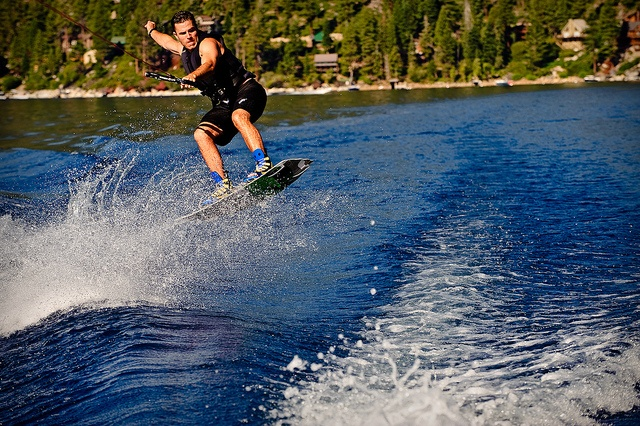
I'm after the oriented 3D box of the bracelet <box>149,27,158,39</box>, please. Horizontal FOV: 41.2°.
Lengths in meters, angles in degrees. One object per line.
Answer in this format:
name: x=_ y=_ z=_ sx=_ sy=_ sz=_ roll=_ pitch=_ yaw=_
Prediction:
bracelet: x=-5.736 y=-6.137 z=29.186 sx=0.334 sy=0.082 sz=0.282 roll=-13 pitch=49 yaw=19
